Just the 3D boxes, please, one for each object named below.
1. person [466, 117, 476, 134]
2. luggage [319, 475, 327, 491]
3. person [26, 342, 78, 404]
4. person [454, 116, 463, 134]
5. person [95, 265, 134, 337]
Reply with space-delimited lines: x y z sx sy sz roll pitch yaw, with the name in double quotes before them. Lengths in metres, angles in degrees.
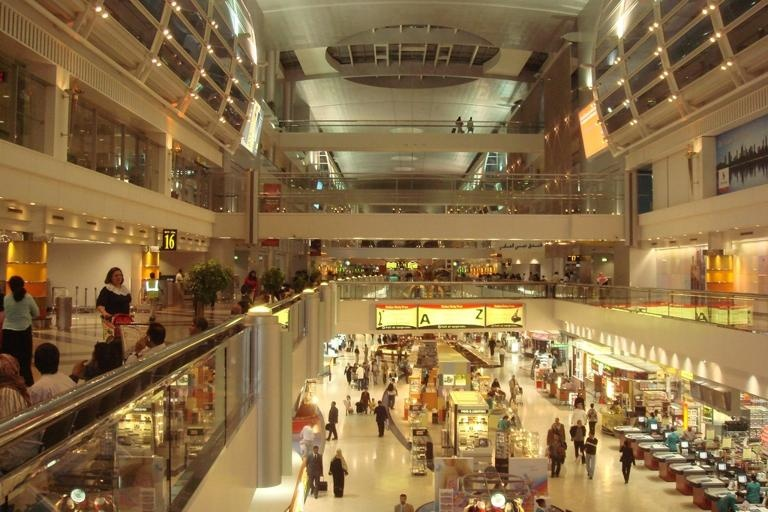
"person" 4.731 -7.063 31.845 0.438 1.056 0.859 0 -5 12
"luggage" -1.750 6.641 17.149 0.260 0.331 0.343 2 -6 0
"person" -4.087 1.418 7.196 0.452 0.701 0.301 4 -5 -30
"person" 4.114 -7.103 31.947 0.489 0.961 0.681 1 -5 6
"person" -4.581 0.766 9.987 0.531 1.185 1.622 3 -5 -24
